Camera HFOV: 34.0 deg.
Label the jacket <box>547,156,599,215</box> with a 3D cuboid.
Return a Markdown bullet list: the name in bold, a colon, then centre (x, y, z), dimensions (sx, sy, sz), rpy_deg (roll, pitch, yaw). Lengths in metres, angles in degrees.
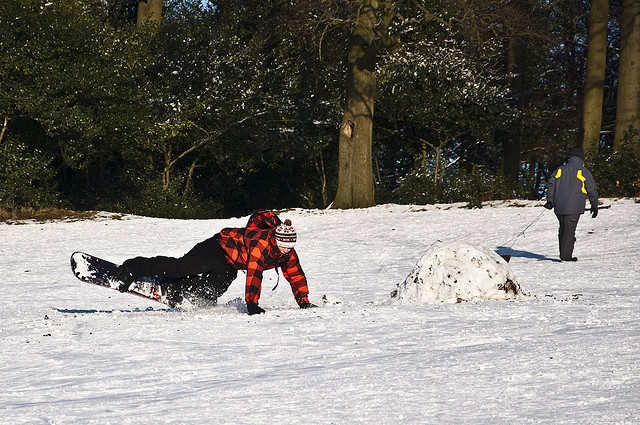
- **jacket**: centre (7.258, -0.801, 29.888), dimensions (1.496, 1.780, 0.851), rpy_deg (6, -3, 17)

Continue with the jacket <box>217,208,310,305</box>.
- **jacket**: centre (-1.485, 0.873, 25.215), dimensions (1.447, 2.743, 2.521), rpy_deg (-1, 0, -41)
